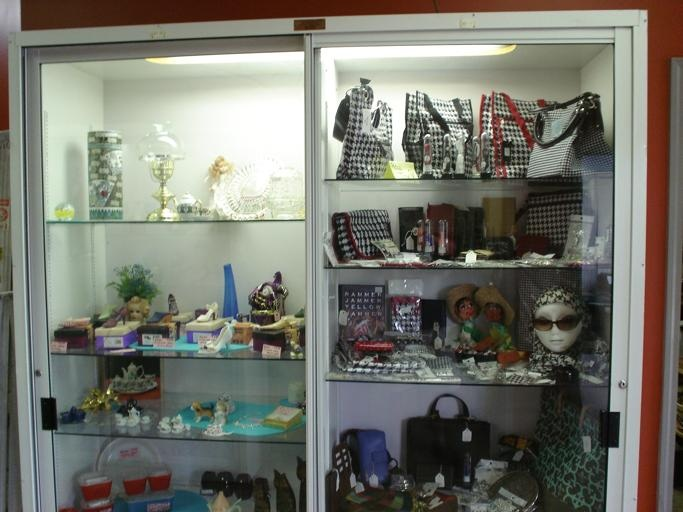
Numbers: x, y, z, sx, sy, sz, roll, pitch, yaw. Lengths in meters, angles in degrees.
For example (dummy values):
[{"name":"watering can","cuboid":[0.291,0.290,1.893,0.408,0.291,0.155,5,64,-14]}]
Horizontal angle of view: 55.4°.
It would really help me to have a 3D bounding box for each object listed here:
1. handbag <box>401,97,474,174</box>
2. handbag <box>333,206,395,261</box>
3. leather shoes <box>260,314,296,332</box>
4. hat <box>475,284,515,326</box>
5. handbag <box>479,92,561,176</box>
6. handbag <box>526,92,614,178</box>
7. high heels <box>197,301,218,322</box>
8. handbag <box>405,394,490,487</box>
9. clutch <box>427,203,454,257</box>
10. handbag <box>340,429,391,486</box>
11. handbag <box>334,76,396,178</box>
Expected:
[{"name":"handbag","cuboid":[0.495,-0.589,3.227,0.322,0.402,0.158,0,5,4]},{"name":"handbag","cuboid":[0.104,-0.117,3.324,0.251,0.211,0.117,-6,7,-35]},{"name":"leather shoes","cuboid":[-0.303,0.354,3.302,0.229,0.063,0.075,-10,12,-13]},{"name":"hat","cuboid":[0.772,0.293,3.318,0.151,0.086,0.114,-2,-29,45]},{"name":"handbag","cuboid":[0.886,-0.578,3.191,0.355,0.421,0.165,1,-1,2]},{"name":"handbag","cuboid":[1.101,-0.568,3.188,0.221,0.411,0.382,-4,2,-21]},{"name":"high heels","cuboid":[-0.691,0.306,3.411,0.049,0.078,0.150,-1,2,29]},{"name":"handbag","cuboid":[0.576,1.025,3.452,0.429,0.158,0.530,-2,47,12]},{"name":"clutch","cuboid":[0.524,-0.132,3.368,0.131,0.288,0.146,1,0,21]},{"name":"handbag","cuboid":[0.153,1.076,3.468,0.199,0.296,0.151,3,-9,-30]},{"name":"handbag","cuboid":[0.107,-0.615,3.215,0.244,0.558,0.450,2,4,28]}]
